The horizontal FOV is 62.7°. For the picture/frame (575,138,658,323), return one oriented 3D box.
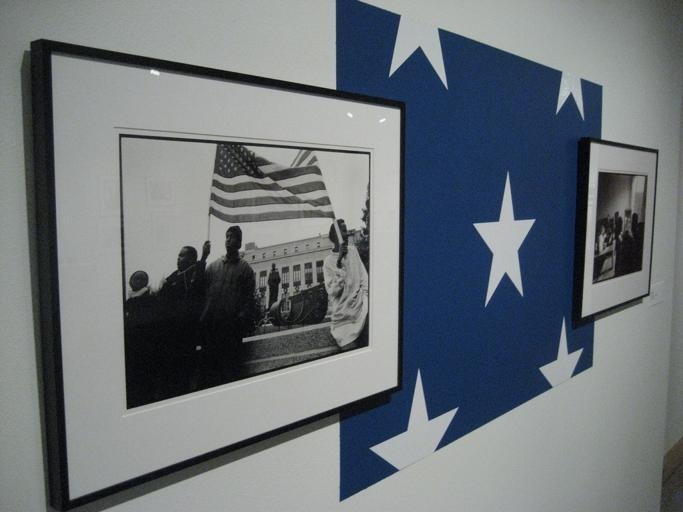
[{"bbox_3d":[0.933,-0.091,1.873,0.491,0.541,0.025,-6,9,-38],"label":"picture/frame"}]

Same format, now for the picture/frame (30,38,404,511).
[{"bbox_3d":[-0.262,0.023,1.064,0.849,0.879,0.088,-4,5,-39],"label":"picture/frame"}]
